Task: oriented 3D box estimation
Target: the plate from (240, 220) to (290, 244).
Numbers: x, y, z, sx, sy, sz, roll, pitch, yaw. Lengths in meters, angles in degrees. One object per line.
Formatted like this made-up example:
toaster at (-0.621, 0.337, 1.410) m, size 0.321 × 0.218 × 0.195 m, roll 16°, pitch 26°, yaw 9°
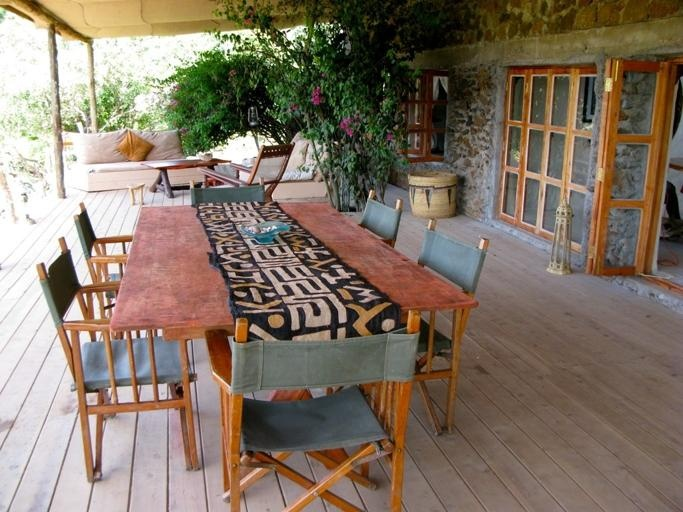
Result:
plate at (-0.484, -0.158, 3.099) m, size 0.207 × 0.080 × 0.204 m, roll -5°, pitch 18°, yaw -13°

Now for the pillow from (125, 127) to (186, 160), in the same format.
pillow at (-3.735, -2.236, 9.679) m, size 1.028 × 0.675 × 0.364 m, roll 1°, pitch -12°, yaw -22°
